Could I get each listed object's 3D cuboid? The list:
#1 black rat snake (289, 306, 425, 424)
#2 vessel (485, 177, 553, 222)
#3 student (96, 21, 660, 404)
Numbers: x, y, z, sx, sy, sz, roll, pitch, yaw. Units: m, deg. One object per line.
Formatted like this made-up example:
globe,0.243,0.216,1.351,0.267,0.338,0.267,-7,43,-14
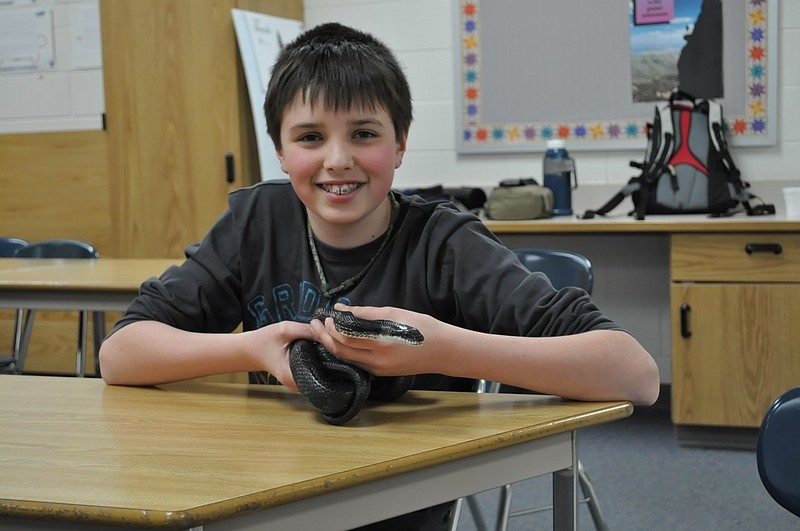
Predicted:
black rat snake,-0.092,0.176,1.330,0.285,0.109,0.162,-15,32,-20
vessel,0.622,-0.329,3.428,0.308,0.221,0.343,5,12,36
student,-0.076,-0.050,1.651,1.253,0.763,0.667,7,3,19
